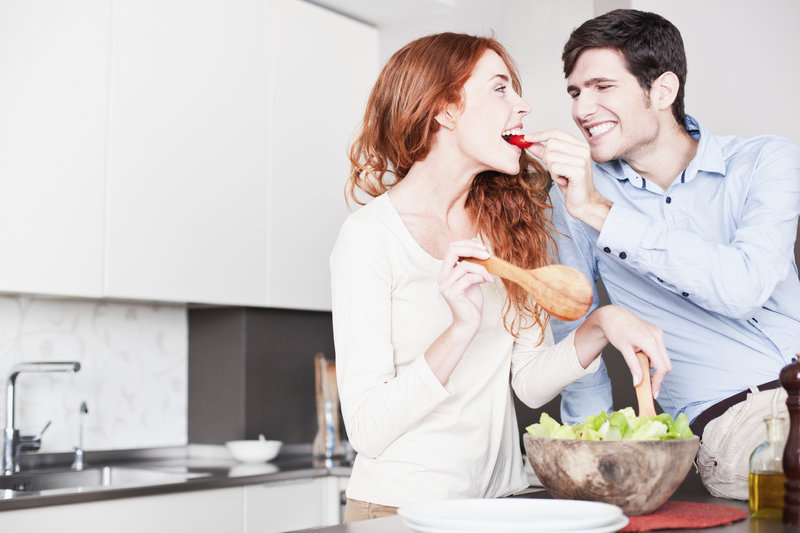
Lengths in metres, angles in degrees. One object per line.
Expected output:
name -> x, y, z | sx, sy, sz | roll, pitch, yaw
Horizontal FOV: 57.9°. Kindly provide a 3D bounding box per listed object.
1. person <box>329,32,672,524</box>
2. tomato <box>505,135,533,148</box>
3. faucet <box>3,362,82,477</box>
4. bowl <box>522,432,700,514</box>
person -> 0.182, 0.004, 1.893 | 0.726, 1.297, 0.575 | 0, -8, -7
tomato -> 0.312, -0.333, 1.900 | 0.063, 0.021, 0.034 | 16, 0, 44
faucet -> -1.467, 0.612, 2.952 | 0.270, 0.441, 0.142 | 3, -9, -24
bowl -> 0.451, 0.457, 1.585 | 0.372, 0.152, 0.375 | 2, -14, 0
